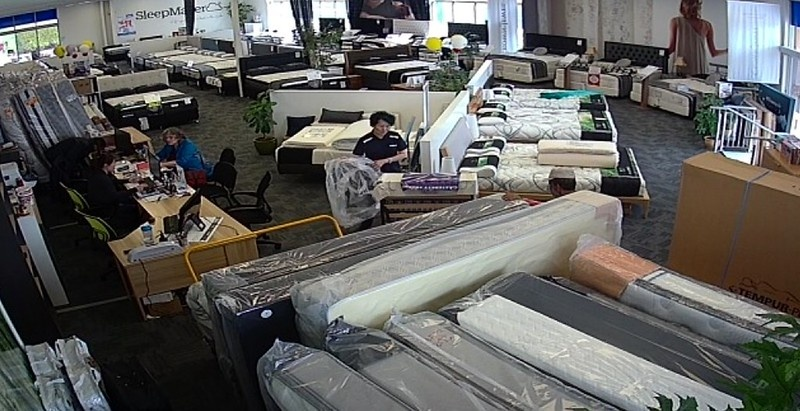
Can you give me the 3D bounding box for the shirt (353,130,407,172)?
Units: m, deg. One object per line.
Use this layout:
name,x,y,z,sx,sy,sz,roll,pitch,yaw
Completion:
shirt,-0.337,-0.933,7.955,0.997,0.664,0.429,-6,15,-11

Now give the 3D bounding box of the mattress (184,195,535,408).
mattress,-0.382,0.994,4.508,2.462,1.045,0.700,-15,25,-30

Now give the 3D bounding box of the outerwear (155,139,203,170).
outerwear,-4.331,-1.029,9.170,0.717,0.566,0.885,0,5,39

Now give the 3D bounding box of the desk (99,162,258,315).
desk,-3.284,-0.070,6.646,2.041,1.282,2.775,-15,29,-31

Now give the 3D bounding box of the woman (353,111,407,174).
woman,-0.348,-1.089,7.928,0.911,1.069,0.638,-4,23,-4

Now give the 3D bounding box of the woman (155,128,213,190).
woman,-4.489,-0.850,9.121,0.969,1.340,1.205,21,23,38

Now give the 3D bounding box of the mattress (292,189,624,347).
mattress,0.712,0.633,4.838,3.411,0.959,0.490,-16,44,-16
